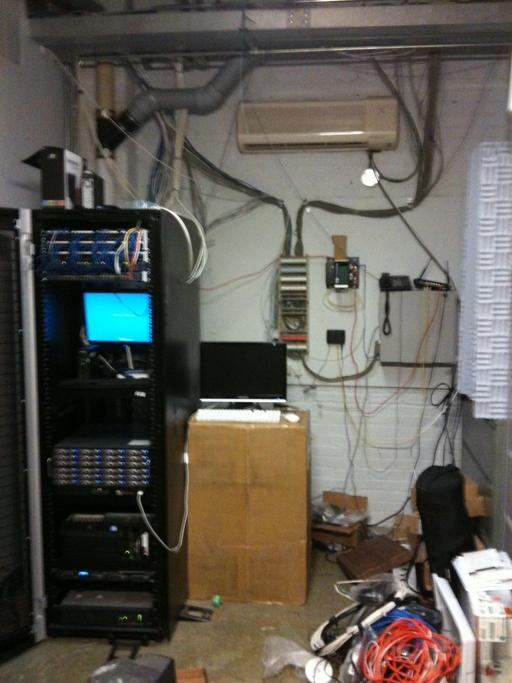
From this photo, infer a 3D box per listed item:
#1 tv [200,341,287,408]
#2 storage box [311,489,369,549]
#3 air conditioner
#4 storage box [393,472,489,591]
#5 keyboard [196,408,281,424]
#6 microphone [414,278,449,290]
[{"bbox_3d":[-0.071,0.171,4.047,0.369,0.266,0.037,0,0,1],"label":"tv"},{"bbox_3d":[0.486,1.051,4.268,0.320,0.284,0.299,0,7,9],"label":"storage box"},{"bbox_3d":[0.352,-1.240,4.224,0.908,0.324,0.258,1,28,9],"label":"air conditioner"},{"bbox_3d":[1.021,0.989,3.897,0.375,0.560,0.411,1,7,17],"label":"storage box"},{"bbox_3d":[-0.094,0.391,3.846,0.448,0.033,0.220,0,7,4],"label":"keyboard"},{"bbox_3d":[0.992,-0.319,4.162,0.204,0.077,0.098,1,7,13],"label":"microphone"}]
